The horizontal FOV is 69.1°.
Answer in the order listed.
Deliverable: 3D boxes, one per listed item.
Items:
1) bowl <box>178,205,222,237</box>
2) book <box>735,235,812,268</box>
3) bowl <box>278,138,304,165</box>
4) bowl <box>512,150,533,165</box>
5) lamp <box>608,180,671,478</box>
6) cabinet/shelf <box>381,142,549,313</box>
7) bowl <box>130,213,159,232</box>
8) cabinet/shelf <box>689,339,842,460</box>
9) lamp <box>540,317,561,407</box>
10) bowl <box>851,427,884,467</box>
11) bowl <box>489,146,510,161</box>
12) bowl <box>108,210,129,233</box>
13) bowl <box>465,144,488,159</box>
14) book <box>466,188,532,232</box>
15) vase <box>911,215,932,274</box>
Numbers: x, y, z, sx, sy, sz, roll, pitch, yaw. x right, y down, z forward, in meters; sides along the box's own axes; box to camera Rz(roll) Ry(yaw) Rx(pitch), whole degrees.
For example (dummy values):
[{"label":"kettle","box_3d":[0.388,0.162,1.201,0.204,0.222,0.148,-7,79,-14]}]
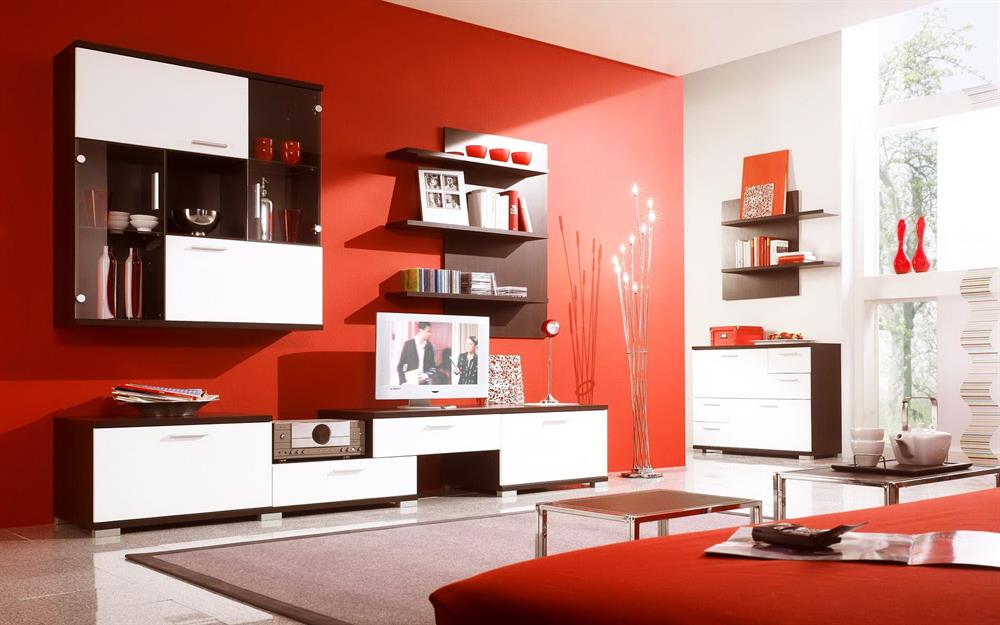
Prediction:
[{"label":"bowl","box_3d":[-2.038,-0.629,4.948,0.219,0.140,0.219,-1,-4,0]},{"label":"book","box_3d":[3.296,-0.739,8.790,0.291,0.381,0.958,-1,-1,-39]},{"label":"bowl","box_3d":[-1.506,-1.158,5.259,0.185,0.248,0.171,-1,3,0]},{"label":"bowl","box_3d":[0.199,-1.356,6.373,0.144,0.074,0.132,-1,1,0]},{"label":"lamp","box_3d":[1.321,0.129,6.986,0.443,2.802,0.676,-2,-2,13]},{"label":"cabinet/shelf","box_3d":[-0.355,-0.719,6.134,1.683,1.223,0.513,2,-5,-34]},{"label":"bowl","box_3d":[-2.342,-0.589,4.779,0.141,0.081,0.130,-1,-1,0]},{"label":"cabinet/shelf","box_3d":[3.116,0.990,8.324,0.573,1.090,1.476,5,-6,-43]},{"label":"lamp","box_3d":[0.467,0.426,6.460,0.175,0.754,0.502,-2,-1,4]},{"label":"bowl","box_3d":[1.877,0.681,3.713,0.209,0.196,0.192,2,-8,0]},{"label":"bowl","box_3d":[0.005,-1.362,6.255,0.137,0.071,0.130,1,-1,0]},{"label":"bowl","box_3d":[-2.483,-0.592,4.780,0.142,0.092,0.124,0,0,-7]},{"label":"bowl","box_3d":[-0.201,-1.374,6.248,0.155,0.080,0.143,-2,2,0]},{"label":"book","box_3d":[0.007,-0.890,6.296,0.605,0.374,0.176,-1,-2,-38]},{"label":"vase","box_3d":[4.707,-0.771,8.158,0.179,0.445,0.226,-3,-2,30]}]
